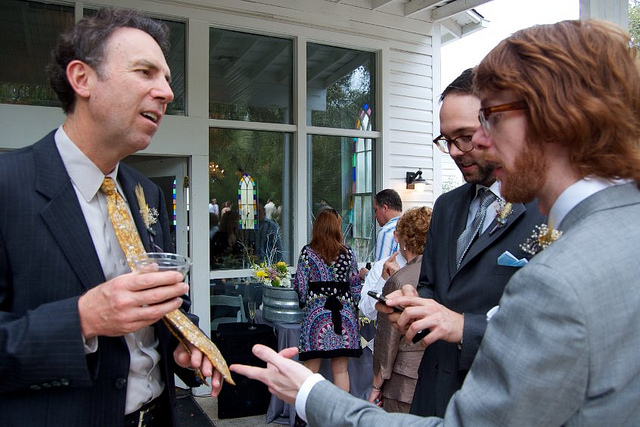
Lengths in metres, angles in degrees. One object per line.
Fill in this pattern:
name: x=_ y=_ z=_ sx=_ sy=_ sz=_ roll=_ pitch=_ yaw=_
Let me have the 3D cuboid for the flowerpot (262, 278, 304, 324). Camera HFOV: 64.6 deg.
flowerpot: x=-0.335 y=0.845 z=4.899 sx=0.409 sy=0.333 sz=0.410 roll=2 pitch=0 yaw=21

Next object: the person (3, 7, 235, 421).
person: x=-0.829 y=0.021 z=1.986 sx=0.777 sy=1.721 sz=0.734 roll=0 pitch=2 yaw=-20

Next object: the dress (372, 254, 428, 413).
dress: x=0.523 y=0.828 z=3.350 sx=0.330 sy=1.049 sz=0.763 roll=1 pitch=2 yaw=6

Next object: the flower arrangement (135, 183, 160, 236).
flower arrangement: x=-0.796 y=-0.029 z=2.284 sx=0.070 sy=0.242 sz=0.076 roll=-32 pitch=-23 yaw=32

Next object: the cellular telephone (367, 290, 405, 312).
cellular telephone: x=0.301 y=0.392 z=2.309 sx=0.158 sy=0.110 sz=0.230 roll=2 pitch=2 yaw=10

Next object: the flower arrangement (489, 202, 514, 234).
flower arrangement: x=0.807 y=0.022 z=2.299 sx=0.081 sy=0.141 sz=0.140 roll=1 pitch=2 yaw=-6

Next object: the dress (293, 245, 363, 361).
dress: x=0.074 y=0.795 z=4.593 sx=0.627 sy=0.972 sz=0.440 roll=1 pitch=2 yaw=-1

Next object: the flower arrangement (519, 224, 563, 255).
flower arrangement: x=0.810 y=0.094 z=1.843 sx=0.120 sy=0.064 sz=0.114 roll=-26 pitch=16 yaw=-32

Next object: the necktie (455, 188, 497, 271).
necktie: x=0.753 y=0.052 z=2.431 sx=0.145 sy=0.416 sz=0.034 roll=5 pitch=-32 yaw=49
